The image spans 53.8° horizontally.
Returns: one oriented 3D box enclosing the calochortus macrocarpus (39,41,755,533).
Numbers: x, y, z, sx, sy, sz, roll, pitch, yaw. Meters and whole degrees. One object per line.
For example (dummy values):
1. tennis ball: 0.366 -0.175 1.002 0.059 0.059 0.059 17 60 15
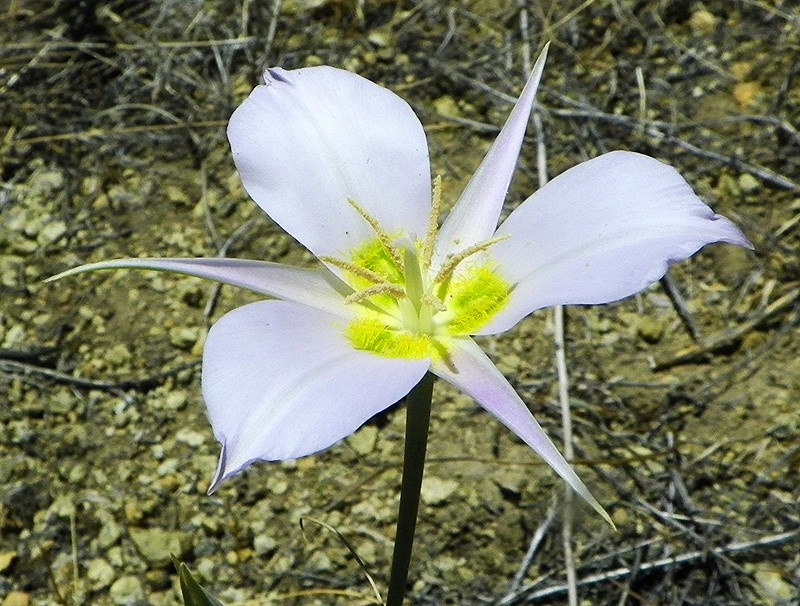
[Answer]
1. calochortus macrocarpus: 0.023 -0.119 2.013 1.346 0.543 1.145 -14 86 -1
